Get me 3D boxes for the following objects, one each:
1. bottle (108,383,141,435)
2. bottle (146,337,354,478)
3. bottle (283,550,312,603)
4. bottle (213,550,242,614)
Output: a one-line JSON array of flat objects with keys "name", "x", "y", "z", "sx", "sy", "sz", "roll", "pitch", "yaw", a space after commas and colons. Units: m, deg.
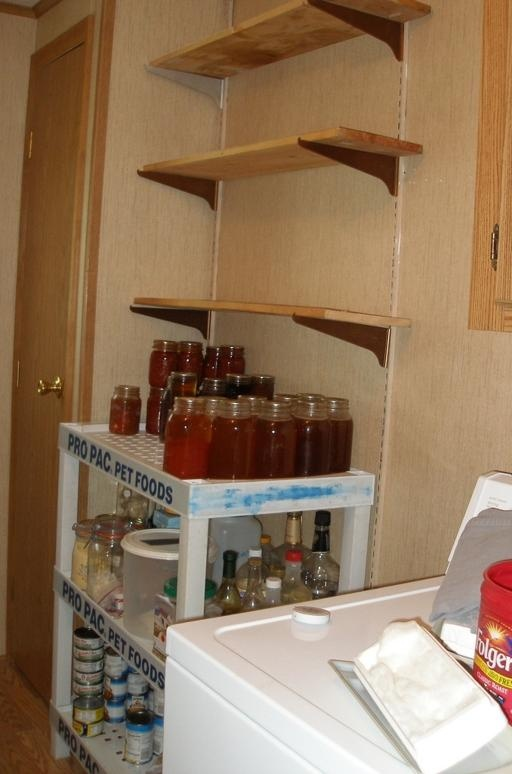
[{"name": "bottle", "x": -0.341, "y": 0.052, "z": 1.736, "sx": 0.107, "sy": 0.173, "sz": 0.113, "roll": 3, "pitch": 9, "yaw": -1}, {"name": "bottle", "x": -0.089, "y": 0.010, "z": 1.465, "sx": 0.272, "sy": 0.169, "sz": 0.487, "roll": 0, "pitch": 5, "yaw": -26}, {"name": "bottle", "x": 0.083, "y": 0.388, "z": 1.346, "sx": 0.059, "sy": 0.095, "sz": 0.116, "roll": 0, "pitch": -5, "yaw": 4}, {"name": "bottle", "x": -0.059, "y": 0.401, "z": 1.369, "sx": 0.050, "sy": 0.121, "sz": 0.158, "roll": 0, "pitch": -5, "yaw": -3}]
